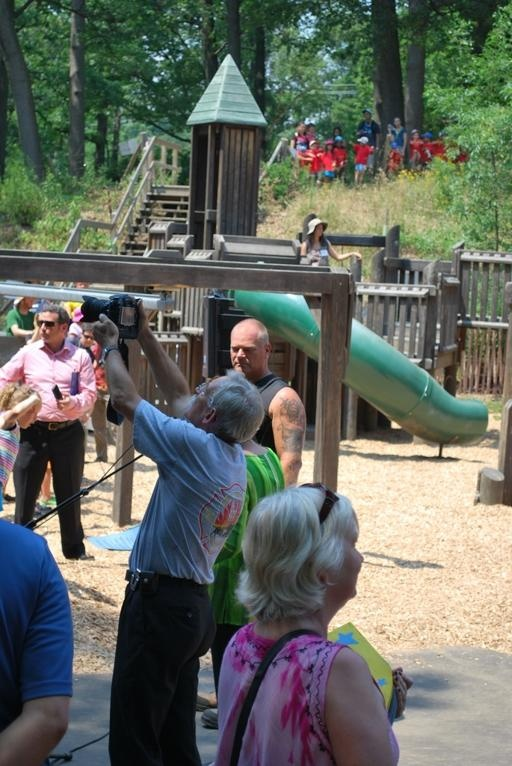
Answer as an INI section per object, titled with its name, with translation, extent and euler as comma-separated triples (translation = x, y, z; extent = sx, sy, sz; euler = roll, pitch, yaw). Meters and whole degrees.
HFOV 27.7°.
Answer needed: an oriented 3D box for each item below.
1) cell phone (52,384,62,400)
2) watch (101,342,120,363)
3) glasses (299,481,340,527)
[cell phone]
translation = -1.329, 0.058, 6.942
extent = 0.069, 0.096, 0.155
euler = 1, 8, -12
[watch]
translation = -0.513, -0.106, 3.578
extent = 0.076, 0.077, 0.051
euler = 2, -5, -11
[glasses]
translation = 0.159, 0.286, 2.489
extent = 0.071, 0.094, 0.067
euler = 20, -13, -24
